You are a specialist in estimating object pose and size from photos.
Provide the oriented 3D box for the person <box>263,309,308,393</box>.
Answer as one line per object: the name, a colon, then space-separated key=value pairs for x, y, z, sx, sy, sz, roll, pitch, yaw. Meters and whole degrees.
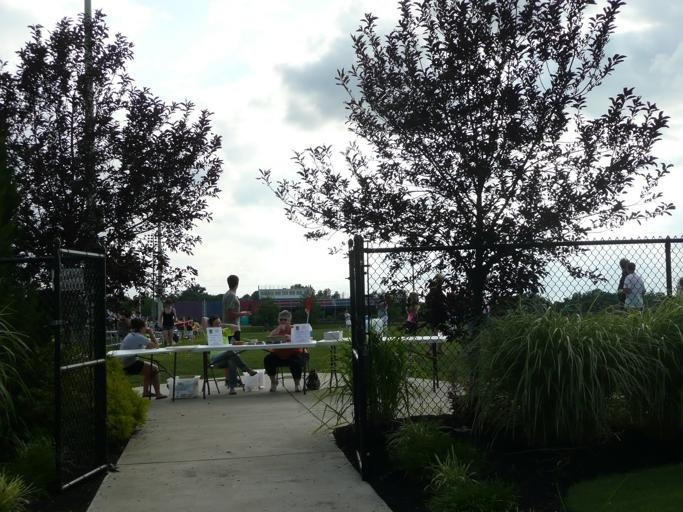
person: x=-0.912 y=1.645 z=10.816 sx=0.852 sy=1.422 sz=0.837 roll=-3 pitch=-3 yaw=41

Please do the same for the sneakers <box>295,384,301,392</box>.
sneakers: x=-0.736 y=2.242 z=10.487 sx=0.074 sy=0.108 sz=0.242 roll=-1 pitch=-14 yaw=-3

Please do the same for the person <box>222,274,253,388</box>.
person: x=-1.785 y=1.237 z=10.784 sx=0.446 sy=1.803 sz=0.499 roll=-3 pitch=5 yaw=-19

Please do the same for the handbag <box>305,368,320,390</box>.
handbag: x=-0.457 y=2.116 z=10.639 sx=0.276 sy=0.505 sz=0.344 roll=-1 pitch=0 yaw=0
